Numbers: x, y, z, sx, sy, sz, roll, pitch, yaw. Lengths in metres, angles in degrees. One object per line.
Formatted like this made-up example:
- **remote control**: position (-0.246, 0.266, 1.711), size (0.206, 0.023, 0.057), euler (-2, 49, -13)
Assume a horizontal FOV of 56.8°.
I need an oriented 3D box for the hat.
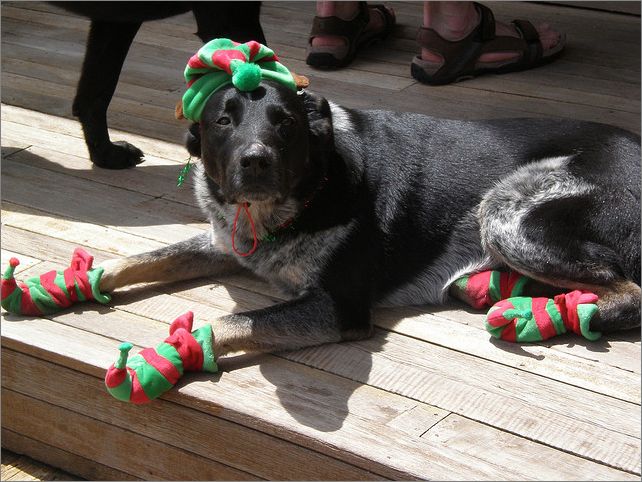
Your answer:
- **hat**: position (-0.438, -0.679, 2.476), size (0.643, 0.189, 0.347), euler (-9, 13, 2)
